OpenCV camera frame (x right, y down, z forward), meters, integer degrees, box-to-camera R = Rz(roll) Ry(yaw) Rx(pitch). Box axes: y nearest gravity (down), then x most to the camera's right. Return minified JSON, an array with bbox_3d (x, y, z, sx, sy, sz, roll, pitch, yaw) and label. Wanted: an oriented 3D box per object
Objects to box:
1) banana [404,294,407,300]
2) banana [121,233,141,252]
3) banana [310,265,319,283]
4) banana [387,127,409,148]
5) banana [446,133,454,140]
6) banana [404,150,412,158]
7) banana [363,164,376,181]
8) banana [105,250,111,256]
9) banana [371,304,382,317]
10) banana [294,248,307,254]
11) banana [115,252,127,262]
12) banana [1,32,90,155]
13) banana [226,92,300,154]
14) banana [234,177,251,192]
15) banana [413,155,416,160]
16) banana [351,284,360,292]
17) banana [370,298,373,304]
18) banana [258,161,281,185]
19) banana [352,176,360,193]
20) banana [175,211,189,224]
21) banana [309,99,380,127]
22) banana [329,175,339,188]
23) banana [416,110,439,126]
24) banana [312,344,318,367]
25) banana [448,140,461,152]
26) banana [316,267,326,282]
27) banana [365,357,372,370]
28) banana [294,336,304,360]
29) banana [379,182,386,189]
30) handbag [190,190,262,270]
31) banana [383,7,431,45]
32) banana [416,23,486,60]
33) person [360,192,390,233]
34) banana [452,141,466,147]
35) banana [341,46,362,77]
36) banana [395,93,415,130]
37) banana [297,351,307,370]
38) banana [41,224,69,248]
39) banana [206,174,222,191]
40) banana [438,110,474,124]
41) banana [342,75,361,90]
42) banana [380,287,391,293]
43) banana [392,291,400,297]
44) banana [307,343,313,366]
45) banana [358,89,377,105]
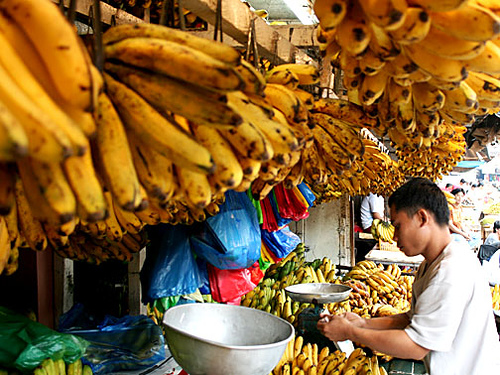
[{"bbox_3d":[1.456,1.032,4.094,0.023,0.023,0.054,-15,28,12],"label":"banana"},{"bbox_3d":[-0.565,0.267,2.122,0.047,0.152,0.040,-25,40,14],"label":"banana"},{"bbox_3d":[0.620,0.849,4.241,0.039,0.217,0.045,-12,-3,-37],"label":"banana"},{"bbox_3d":[0.504,-0.169,1.486,0.048,0.020,0.076,38,-3,-38],"label":"banana"},{"bbox_3d":[1.234,-0.317,2.693,0.017,0.047,0.058,-9,11,30],"label":"banana"},{"bbox_3d":[0.916,-0.193,2.528,0.033,0.026,0.046,0,-26,5],"label":"banana"},{"bbox_3d":[0.619,-0.082,2.277,0.086,0.028,0.023,44,5,-15],"label":"banana"},{"bbox_3d":[-0.646,0.298,1.986,0.006,0.040,0.010,18,55,37],"label":"banana"},{"bbox_3d":[1.042,0.999,3.609,0.038,0.054,0.190,-22,7,27],"label":"banana"},{"bbox_3d":[0.534,0.676,4.678,0.105,0.052,0.097,2,4,-5],"label":"banana"},{"bbox_3d":[-0.613,0.334,2.078,0.036,0.012,0.036,15,34,-27],"label":"banana"},{"bbox_3d":[-0.375,-0.171,0.791,0.040,0.231,0.075,-31,-2,8],"label":"banana"},{"bbox_3d":[0.027,-0.151,1.041,0.197,0.055,0.066,41,-17,20],"label":"banana"},{"bbox_3d":[-0.018,-0.006,1.083,0.012,0.034,0.031,16,22,42],"label":"banana"},{"bbox_3d":[1.127,-0.206,2.996,0.015,0.013,0.056,-35,-19,-11],"label":"banana"},{"bbox_3d":[0.897,0.853,3.736,0.048,0.021,0.067,11,24,-27],"label":"banana"},{"bbox_3d":[1.072,1.000,3.856,0.015,0.049,0.034,-1,9,18],"label":"banana"},{"bbox_3d":[0.052,-0.039,1.173,0.031,0.063,0.015,3,9,13],"label":"banana"},{"bbox_3d":[0.486,-0.017,2.002,0.024,0.084,0.022,-12,16,9],"label":"banana"},{"bbox_3d":[-0.244,0.105,1.598,0.050,0.030,0.035,35,-9,45],"label":"banana"},{"bbox_3d":[0.305,-0.237,1.410,0.178,0.067,0.044,26,9,5],"label":"banana"},{"bbox_3d":[0.379,-0.026,1.980,0.041,0.061,0.016,5,27,39],"label":"banana"},{"bbox_3d":[0.536,-0.208,1.318,0.017,0.043,0.052,12,18,-42],"label":"banana"},{"bbox_3d":[0.366,0.951,2.482,0.024,0.109,0.033,-10,4,-9],"label":"banana"},{"bbox_3d":[1.343,-0.272,2.884,0.035,0.104,0.026,-46,12,-20],"label":"banana"},{"bbox_3d":[0.697,0.873,4.331,0.042,0.171,0.045,-7,6,35],"label":"banana"},{"bbox_3d":[0.617,0.907,2.264,0.029,0.061,0.014,3,-4,-39],"label":"banana"},{"bbox_3d":[0.287,0.932,2.575,0.025,0.041,0.118,-3,29,25],"label":"banana"},{"bbox_3d":[0.942,-0.016,3.123,0.028,0.011,0.040,-9,-26,-7],"label":"banana"},{"bbox_3d":[-0.150,0.232,2.514,0.179,0.501,0.351,-7,3,45],"label":"handbag"},{"bbox_3d":[0.353,-0.368,0.985,0.097,0.078,0.085,4,4,25],"label":"banana"},{"bbox_3d":[0.493,-0.360,1.078,0.245,0.085,0.065,-11,38,-30],"label":"banana"},{"bbox_3d":[2.410,0.388,8.579,0.502,0.978,0.611,4,-4,2],"label":"person"},{"bbox_3d":[1.433,-0.299,3.006,0.100,0.040,0.080,-1,-9,19],"label":"banana"},{"bbox_3d":[0.303,-0.375,1.283,0.049,0.033,0.099,31,12,-2],"label":"banana"},{"bbox_3d":[0.455,-0.210,1.304,0.040,0.164,0.051,3,7,5],"label":"banana"},{"bbox_3d":[0.283,0.931,2.369,0.025,0.104,0.031,3,6,-10],"label":"banana"},{"bbox_3d":[-0.591,0.158,1.340,0.044,0.094,0.029,-14,36,16],"label":"banana"},{"bbox_3d":[-0.084,-0.012,1.013,0.012,0.043,0.024,-15,-6,-30],"label":"banana"},{"bbox_3d":[0.629,-0.218,1.333,0.057,0.020,0.016,21,-34,4],"label":"banana"},{"bbox_3d":[0.306,-0.316,1.308,0.040,0.058,0.018,8,20,20],"label":"banana"},{"bbox_3d":[1.279,0.953,4.085,0.048,0.049,0.014,-2,-36,-36],"label":"banana"},{"bbox_3d":[1.364,0.994,4.095,0.070,0.035,0.108,4,4,14],"label":"banana"},{"bbox_3d":[0.335,0.926,2.464,0.016,0.078,0.023,12,-18,-30],"label":"banana"},{"bbox_3d":[0.337,-0.254,1.253,0.039,0.048,0.016,5,0,-34],"label":"banana"}]
